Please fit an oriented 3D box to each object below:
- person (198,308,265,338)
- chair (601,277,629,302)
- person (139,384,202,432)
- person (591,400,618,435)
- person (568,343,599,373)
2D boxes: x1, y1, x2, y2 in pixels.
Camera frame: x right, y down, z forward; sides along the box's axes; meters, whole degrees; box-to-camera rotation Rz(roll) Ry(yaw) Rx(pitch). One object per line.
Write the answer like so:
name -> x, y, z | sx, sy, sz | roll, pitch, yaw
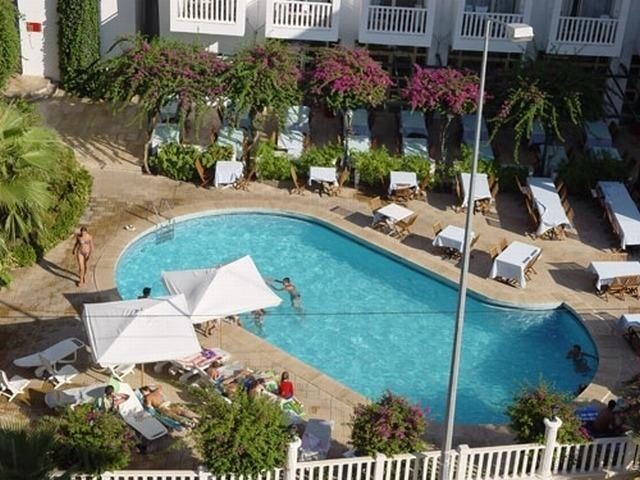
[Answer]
person -> -2.811, 2.544, 18.556 | 1.209, 0.316, 0.893 | -16, 46, -26
chair -> 10.060, 1.660, 20.325 | 0.734, 0.897, 0.547 | 9, 15, 18
person -> -3.805, 4.248, 14.796 | 1.464, 0.567, 0.828 | 35, 33, 18
person -> 7.184, 4.561, 15.014 | 0.484, 0.786, 0.460 | 32, 16, 21
person -> 8.087, 3.598, 18.256 | 0.909, 0.774, 0.774 | -8, 19, -38
